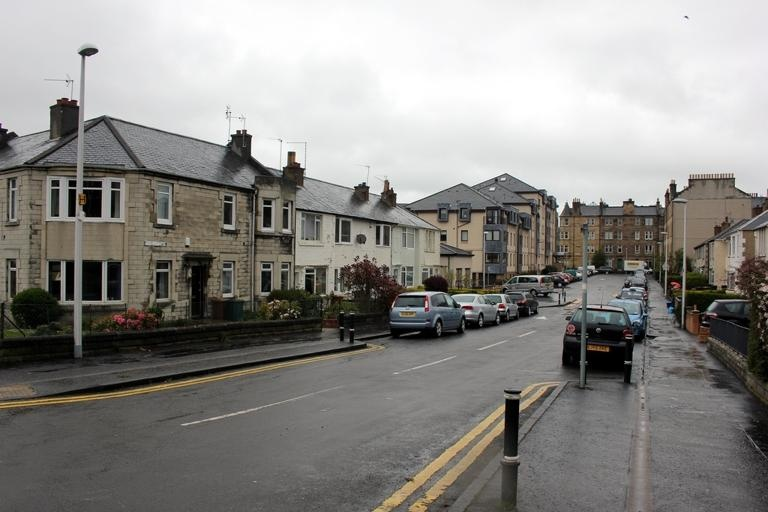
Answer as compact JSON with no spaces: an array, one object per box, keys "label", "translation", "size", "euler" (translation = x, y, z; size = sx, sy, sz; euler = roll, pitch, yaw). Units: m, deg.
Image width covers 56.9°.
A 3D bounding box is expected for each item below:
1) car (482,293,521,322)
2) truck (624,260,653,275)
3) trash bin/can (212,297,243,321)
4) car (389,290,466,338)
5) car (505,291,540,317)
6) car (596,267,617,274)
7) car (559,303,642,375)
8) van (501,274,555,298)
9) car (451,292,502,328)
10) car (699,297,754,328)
[{"label":"car","translation":[7.351,3.125,43.679],"size":[1.151,0.988,2.847],"euler":[-4,-9,21]},{"label":"truck","translation":[42.956,2.127,120.456],"size":[4.085,2.324,2.242],"euler":[1,1,8]},{"label":"trash bin/can","translation":[-7.737,2.660,34.994],"size":[1.762,1.005,0.706],"euler":[-4,-4,34]},{"label":"car","translation":[2.161,2.802,34.307],"size":[3.812,2.107,1.443],"euler":[2,-5,-42]},{"label":"car","translation":[9.497,3.256,48.180],"size":[1.183,1.001,2.815],"euler":[-1,2,22]},{"label":"car","translation":[36.895,2.505,118.564],"size":[2.281,0.750,1.459],"euler":[2,0,1]},{"label":"car","translation":[7.612,2.869,25.276],"size":[2.628,2.225,2.729],"euler":[-4,-4,31]},{"label":"van","translation":[13.845,3.324,68.021],"size":[3.659,1.716,2.720],"euler":[2,0,15]},{"label":"car","translation":[5.258,3.035,40.108],"size":[1.347,1.038,3.066],"euler":[-1,1,29]},{"label":"car","translation":[16.040,2.667,33.361],"size":[1.881,1.244,3.467],"euler":[-3,-4,26]}]
